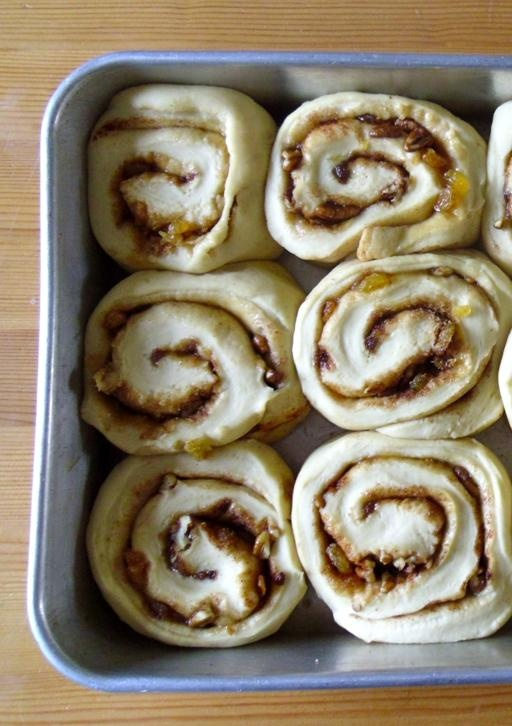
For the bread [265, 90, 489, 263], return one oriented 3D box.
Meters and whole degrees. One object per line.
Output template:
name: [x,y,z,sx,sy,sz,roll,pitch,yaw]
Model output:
bread: [0.224,-0.329,1.594,0.410,0.167,0.306,4,75,1]
